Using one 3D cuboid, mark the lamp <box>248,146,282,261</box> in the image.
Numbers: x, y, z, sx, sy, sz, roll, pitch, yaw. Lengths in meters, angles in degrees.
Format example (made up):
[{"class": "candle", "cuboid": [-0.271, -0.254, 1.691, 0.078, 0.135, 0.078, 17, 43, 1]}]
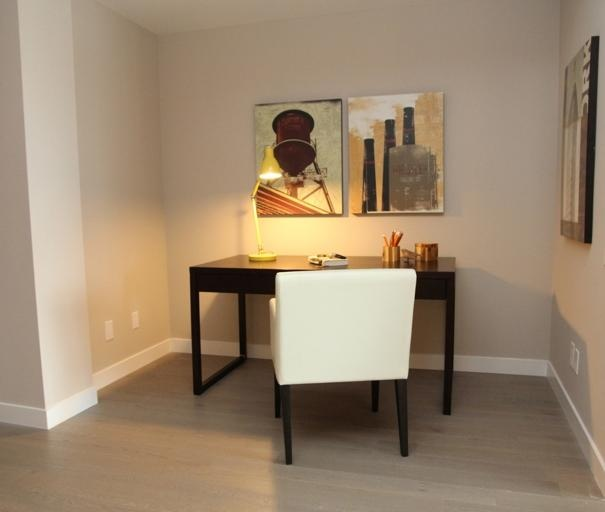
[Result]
[{"class": "lamp", "cuboid": [-0.247, -0.361, 3.548, 0.232, 0.758, 0.571, -1, 11, -2]}]
